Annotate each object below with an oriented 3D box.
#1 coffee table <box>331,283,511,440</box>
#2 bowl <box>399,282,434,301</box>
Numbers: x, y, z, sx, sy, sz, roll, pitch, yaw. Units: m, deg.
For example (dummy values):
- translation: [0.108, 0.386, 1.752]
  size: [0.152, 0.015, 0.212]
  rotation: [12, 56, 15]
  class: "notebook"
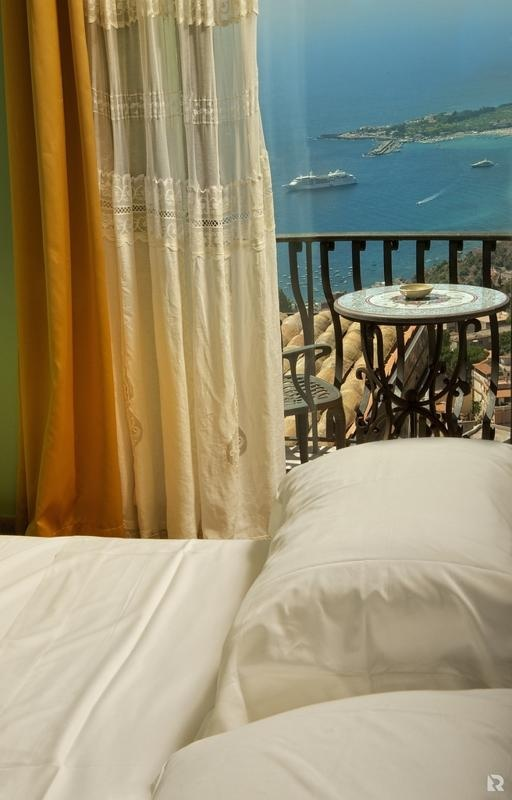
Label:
- translation: [0.667, -0.148, 2.426]
  size: [0.652, 0.766, 0.725]
  rotation: [-6, 15, -3]
  class: "coffee table"
- translation: [0.606, -0.412, 2.221]
  size: [0.112, 0.080, 0.144]
  rotation: [-10, 4, 15]
  class: "bowl"
